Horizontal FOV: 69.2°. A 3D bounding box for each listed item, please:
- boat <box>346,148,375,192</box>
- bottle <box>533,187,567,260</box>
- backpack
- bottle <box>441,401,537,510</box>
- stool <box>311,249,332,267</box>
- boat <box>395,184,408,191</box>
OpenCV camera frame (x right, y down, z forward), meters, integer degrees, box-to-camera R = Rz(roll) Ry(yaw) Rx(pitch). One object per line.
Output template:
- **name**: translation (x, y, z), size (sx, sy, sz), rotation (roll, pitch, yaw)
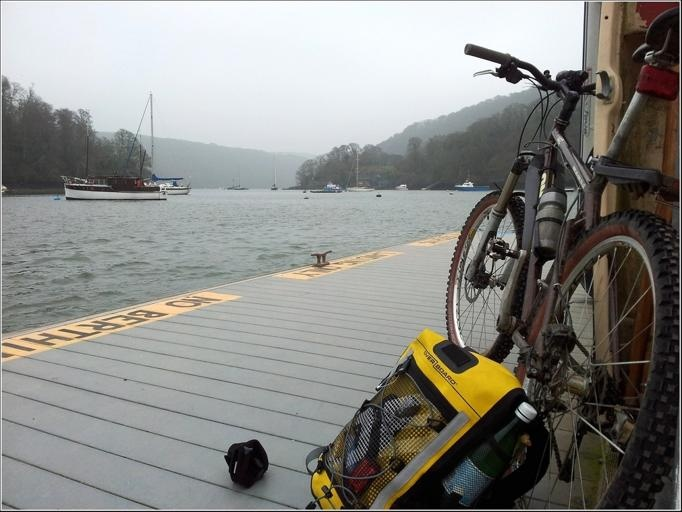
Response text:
- **boat**: translation (4.145, -19.778, 117.987), size (5.429, 8.894, 9.845), rotation (-2, 12, -11)
- **bottle**: translation (0.951, -0.132, 2.232), size (0.143, 0.357, 0.146), rotation (15, -27, 8)
- **backpack**: translation (0.338, 0.648, 1.920), size (0.279, 0.515, 0.447), rotation (32, 12, -30)
- **bottle**: translation (0.493, 0.662, 1.669), size (0.157, 0.445, 0.156), rotation (35, 14, -10)
- **stool**: translation (-0.347, 0.041, 8.684), size (0.282, 0.157, 0.105), rotation (-13, 32, -32)
- **boat**: translation (14.201, -15.717, 113.897), size (1.729, 1.843, 4.102), rotation (-4, 13, -21)
